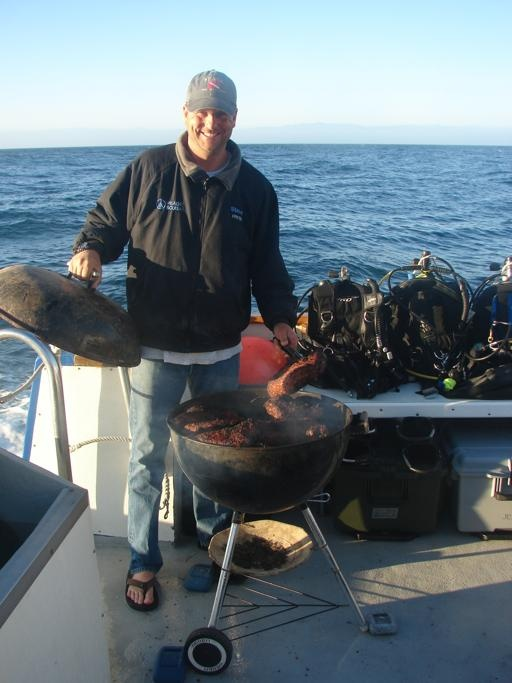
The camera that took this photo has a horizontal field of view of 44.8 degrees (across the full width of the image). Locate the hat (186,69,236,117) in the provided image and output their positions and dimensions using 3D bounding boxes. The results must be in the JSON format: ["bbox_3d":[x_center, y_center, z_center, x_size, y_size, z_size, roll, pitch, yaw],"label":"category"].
[{"bbox_3d":[-0.159,-0.875,2.183,0.185,0.147,0.110,0,18,-8],"label":"hat"}]

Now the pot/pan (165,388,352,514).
[{"bbox_3d":[0.009,0.380,2.158,0.614,0.350,0.632,5,17,8],"label":"pot/pan"}]
